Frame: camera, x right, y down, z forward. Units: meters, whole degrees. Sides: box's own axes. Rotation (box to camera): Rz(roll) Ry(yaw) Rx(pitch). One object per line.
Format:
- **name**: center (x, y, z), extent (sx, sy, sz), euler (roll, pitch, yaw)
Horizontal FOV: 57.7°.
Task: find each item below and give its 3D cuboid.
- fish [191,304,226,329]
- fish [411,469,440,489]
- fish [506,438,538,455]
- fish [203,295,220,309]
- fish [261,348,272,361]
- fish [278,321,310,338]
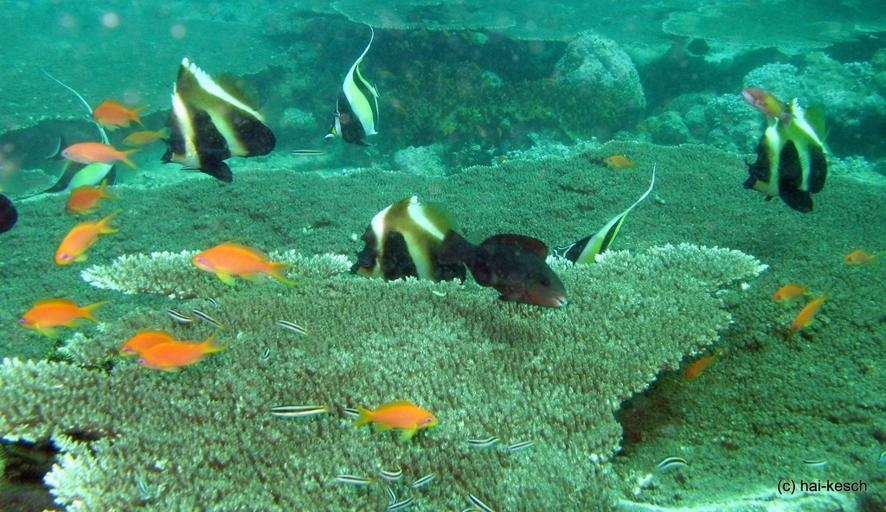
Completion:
- **fish**: center (-6.074, 1.607, 20.818), extent (0.921, 0.262, 0.226), euler (16, 43, 14)
- **fish**: center (-0.475, 5.596, 20.096), extent (0.639, 0.314, 0.182), euler (-14, 45, -19)
- **fish**: center (1.949, 4.796, 20.239), extent (0.428, 0.055, 0.411), euler (-10, 29, -3)
- **fish**: center (-6.076, 1.217, 21.194), extent (0.264, 0.174, 0.607), euler (-8, 30, -42)
- **fish**: center (-4.501, 2.510, 20.617), extent (0.217, 0.190, 0.307), euler (32, 48, 29)
- **fish**: center (-3.861, 1.911, 20.795), extent (0.739, 0.271, 0.117), euler (20, 27, 12)
